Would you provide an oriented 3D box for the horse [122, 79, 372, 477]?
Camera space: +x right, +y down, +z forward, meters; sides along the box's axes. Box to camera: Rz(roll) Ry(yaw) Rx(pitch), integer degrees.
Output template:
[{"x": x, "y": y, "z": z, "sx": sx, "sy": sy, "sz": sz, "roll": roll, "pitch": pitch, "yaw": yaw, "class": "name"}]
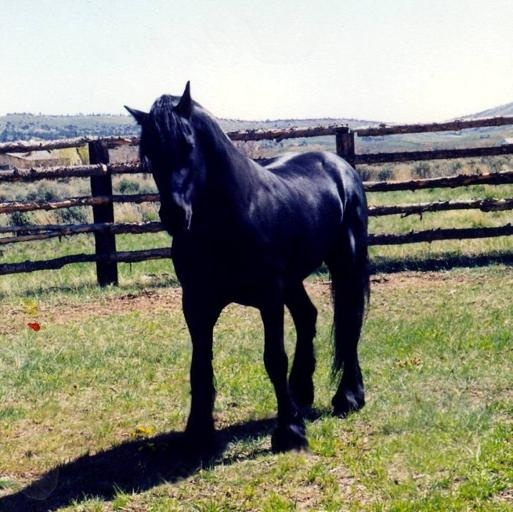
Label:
[{"x": 0.094, "y": 0.032, "z": 6.047, "sx": 0.852, "sy": 2.696, "sz": 2.095, "roll": 8, "pitch": 15, "yaw": 41, "class": "horse"}]
